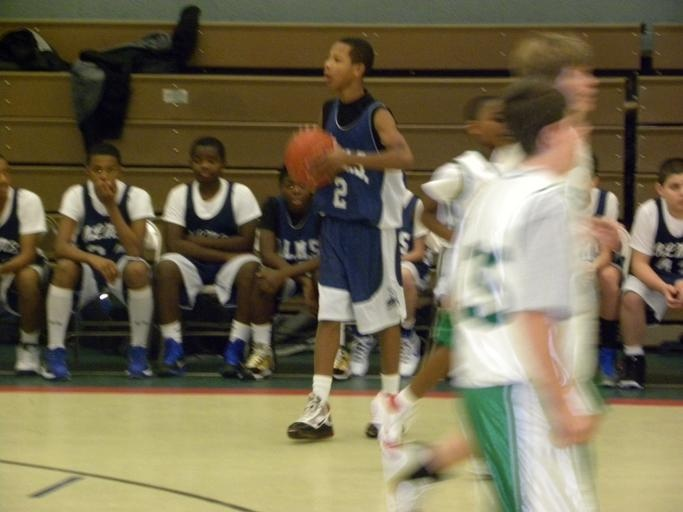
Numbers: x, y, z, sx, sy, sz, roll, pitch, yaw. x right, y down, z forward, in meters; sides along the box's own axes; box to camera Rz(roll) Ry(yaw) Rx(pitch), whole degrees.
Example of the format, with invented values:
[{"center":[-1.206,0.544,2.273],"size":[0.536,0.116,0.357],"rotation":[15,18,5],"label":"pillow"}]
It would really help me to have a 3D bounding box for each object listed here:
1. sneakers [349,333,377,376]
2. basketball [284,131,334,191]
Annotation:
[{"center":[0.135,0.603,4.460],"size":[0.098,0.279,0.123],"rotation":[2,-18,13],"label":"sneakers"},{"center":[-0.173,-0.395,3.284],"size":[0.224,0.233,0.274],"rotation":[-1,-31,-22],"label":"basketball"}]
